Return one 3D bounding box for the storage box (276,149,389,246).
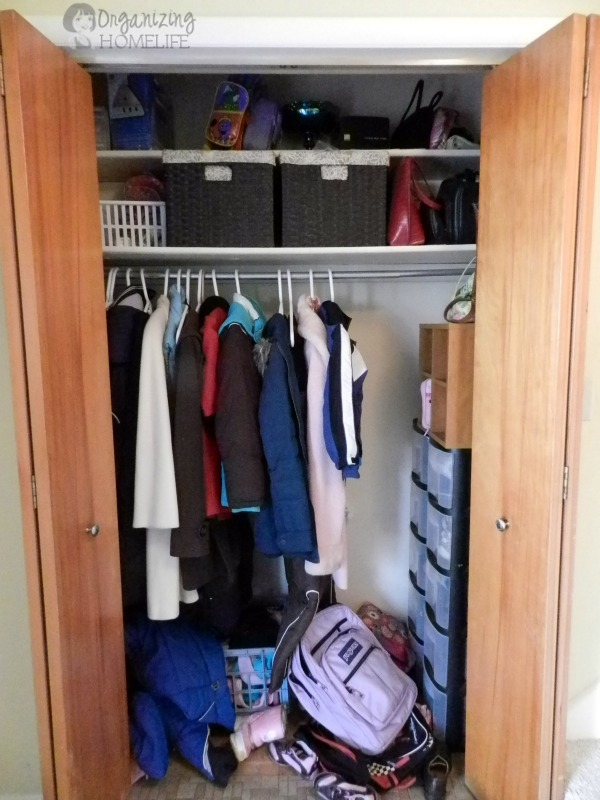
[{"bbox_3d":[0.094,-0.535,2.027,0.256,0.215,0.272,1,14,4],"label":"storage box"}]

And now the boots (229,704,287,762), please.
[{"bbox_3d":[-0.122,0.982,2.132,0.161,0.060,0.099,-37,55,-4],"label":"boots"}]

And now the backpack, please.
[{"bbox_3d":[0.180,0.902,2.178,0.308,0.165,0.449,-29,58,-10],"label":"backpack"}]

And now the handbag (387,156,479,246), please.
[{"bbox_3d":[0.354,-0.605,2.148,0.249,0.303,0.232,-4,20,-4],"label":"handbag"}]

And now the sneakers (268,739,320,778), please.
[{"bbox_3d":[-0.022,0.982,2.052,0.060,0.073,0.163,-4,14,-39],"label":"sneakers"}]

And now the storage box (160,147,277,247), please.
[{"bbox_3d":[-0.222,-0.524,1.987,0.251,0.209,0.268,0,10,-5],"label":"storage box"}]

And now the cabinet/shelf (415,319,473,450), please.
[{"bbox_3d":[0.408,-0.039,2.043,0.105,0.362,0.372,0,-5,1],"label":"cabinet/shelf"}]

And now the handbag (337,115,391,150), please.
[{"bbox_3d":[0.180,-0.758,2.013,0.095,0.109,0.024,1,3,-4],"label":"handbag"}]
